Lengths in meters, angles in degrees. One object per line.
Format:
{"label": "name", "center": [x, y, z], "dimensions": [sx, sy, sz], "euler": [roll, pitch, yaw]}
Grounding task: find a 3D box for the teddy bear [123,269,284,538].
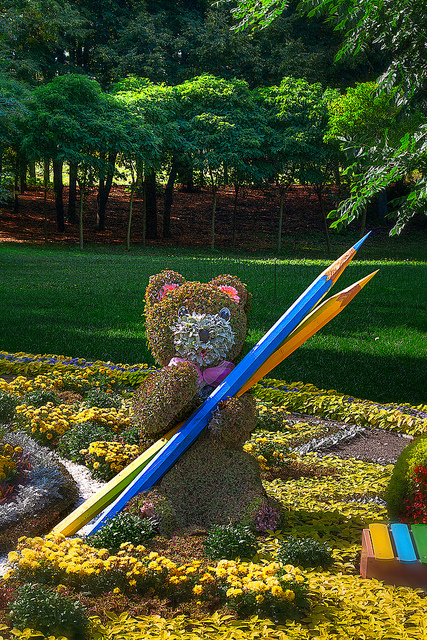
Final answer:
{"label": "teddy bear", "center": [-0.203, 0.643, 7.253], "dimensions": [1.378, 2.062, 1.100], "euler": [0, -2, -20]}
